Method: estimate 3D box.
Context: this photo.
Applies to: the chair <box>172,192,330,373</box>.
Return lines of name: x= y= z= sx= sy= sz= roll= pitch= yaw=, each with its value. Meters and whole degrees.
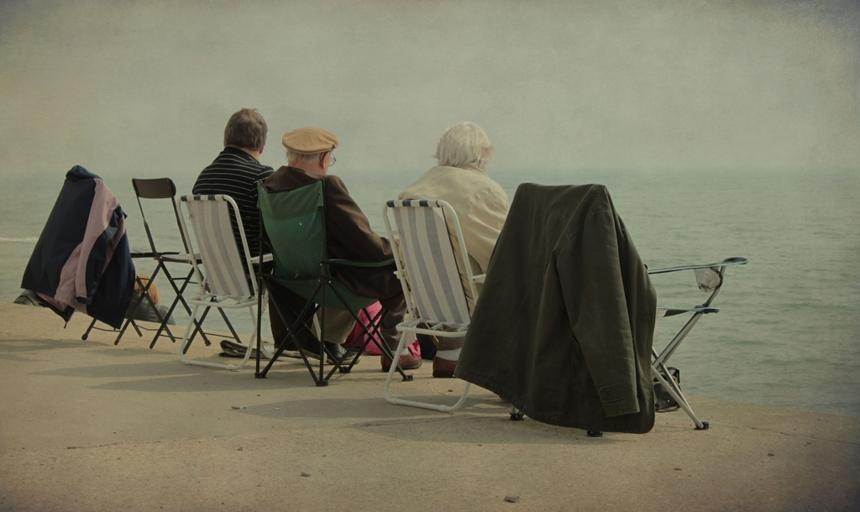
chair: x=-1.552 y=0.179 z=8.647 sx=1.047 sy=1.298 sz=0.966 roll=2 pitch=0 yaw=-19

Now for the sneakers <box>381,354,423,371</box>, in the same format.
sneakers: x=-0.220 y=0.870 z=8.596 sx=0.360 sy=0.139 sz=0.123 roll=-2 pitch=2 yaw=-18

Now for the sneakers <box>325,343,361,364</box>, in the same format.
sneakers: x=-0.746 y=0.800 z=8.641 sx=0.154 sy=0.155 sz=0.400 roll=-2 pitch=-2 yaw=43

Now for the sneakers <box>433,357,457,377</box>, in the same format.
sneakers: x=0.102 y=0.892 z=8.371 sx=0.233 sy=0.143 sz=0.102 roll=-1 pitch=-2 yaw=0

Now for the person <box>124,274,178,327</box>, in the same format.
person: x=-2.850 y=0.475 z=10.533 sx=0.572 sy=0.243 sz=0.727 roll=4 pitch=-17 yaw=0

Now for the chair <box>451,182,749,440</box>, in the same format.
chair: x=1.283 y=0.321 z=7.738 sx=1.651 sy=1.726 sz=1.800 roll=-3 pitch=7 yaw=-33
